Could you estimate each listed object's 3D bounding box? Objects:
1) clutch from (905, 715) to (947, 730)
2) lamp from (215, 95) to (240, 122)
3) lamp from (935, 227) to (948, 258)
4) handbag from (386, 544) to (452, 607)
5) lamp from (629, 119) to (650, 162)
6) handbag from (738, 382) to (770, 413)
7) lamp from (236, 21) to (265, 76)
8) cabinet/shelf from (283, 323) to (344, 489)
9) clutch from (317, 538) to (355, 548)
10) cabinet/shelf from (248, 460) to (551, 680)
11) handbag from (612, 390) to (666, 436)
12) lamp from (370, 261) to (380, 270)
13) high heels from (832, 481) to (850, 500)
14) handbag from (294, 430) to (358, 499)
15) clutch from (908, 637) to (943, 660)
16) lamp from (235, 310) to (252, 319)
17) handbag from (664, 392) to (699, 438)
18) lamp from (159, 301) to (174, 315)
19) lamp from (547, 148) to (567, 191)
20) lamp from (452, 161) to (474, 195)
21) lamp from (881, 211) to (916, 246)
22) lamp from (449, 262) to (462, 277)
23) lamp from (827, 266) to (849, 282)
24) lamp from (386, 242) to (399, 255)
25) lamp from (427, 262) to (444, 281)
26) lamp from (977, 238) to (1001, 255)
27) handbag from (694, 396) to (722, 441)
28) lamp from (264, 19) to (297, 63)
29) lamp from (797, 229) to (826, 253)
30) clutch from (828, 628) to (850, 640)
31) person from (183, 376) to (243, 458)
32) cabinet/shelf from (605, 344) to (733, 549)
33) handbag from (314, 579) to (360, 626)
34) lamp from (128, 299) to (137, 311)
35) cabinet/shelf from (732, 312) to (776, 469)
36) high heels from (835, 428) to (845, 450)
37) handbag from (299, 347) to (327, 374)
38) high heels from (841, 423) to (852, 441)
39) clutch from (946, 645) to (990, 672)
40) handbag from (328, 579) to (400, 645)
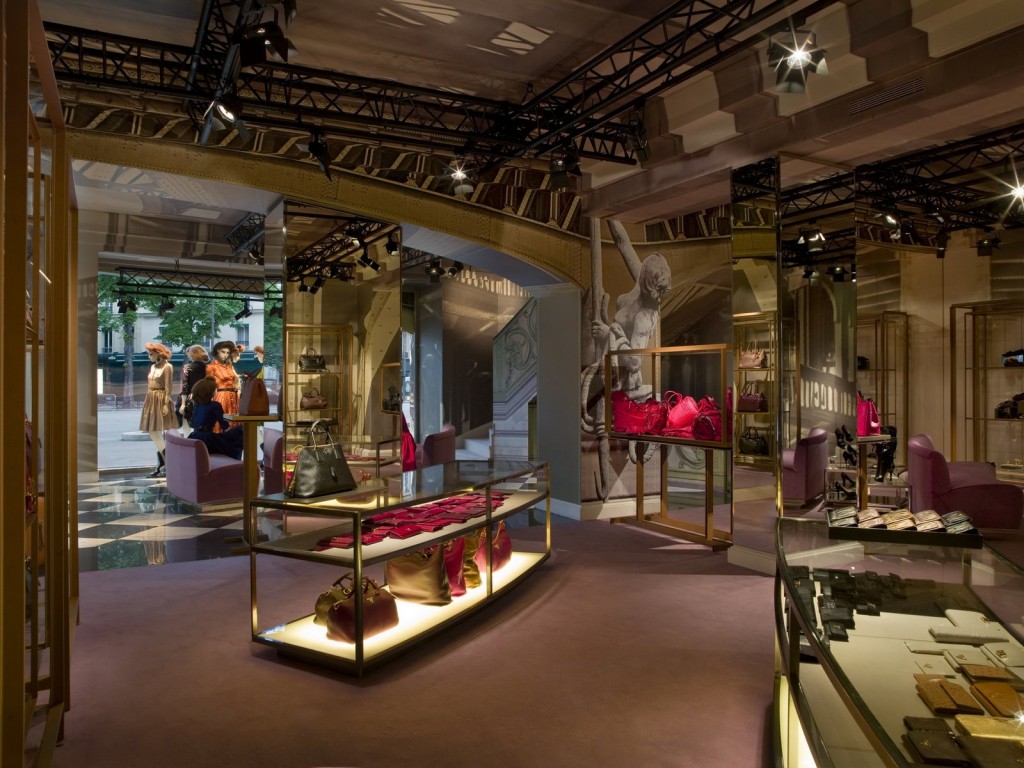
[{"bbox_3d":[1.267,1.034,2.265,0.125,0.014,0.059,0,6,5],"label":"clutch"},{"bbox_3d":[-2.247,-2.174,5.848,0.144,0.184,0.156,-11,-1,-10],"label":"lamp"},{"bbox_3d":[5.654,-1.861,9.744,0.183,0.409,0.095,3,6,34],"label":"lamp"},{"bbox_3d":[-0.660,1.223,4.932,0.470,0.469,0.246,1,24,9],"label":"handbag"},{"bbox_3d":[1.268,-2.422,7.399,0.096,0.387,0.240,-4,6,-22],"label":"lamp"},{"bbox_3d":[2.013,0.111,6.119,0.106,0.240,0.239,1,1,-32],"label":"handbag"},{"bbox_3d":[-1.738,-2.271,4.934,0.152,0.170,0.534,-3,6,-26],"label":"lamp"},{"bbox_3d":[-2.338,0.295,7.994,0.668,1.861,0.516,-3,6,6],"label":"cabinet/shelf"},{"bbox_3d":[-1.051,0.936,4.428,0.109,0.031,0.116,-2,-1,17],"label":"clutch"},{"bbox_3d":[-0.584,1.138,5.371,0.886,0.987,2.674,0,1,27],"label":"cabinet/shelf"},{"bbox_3d":[1.244,0.296,7.298,0.175,0.395,0.715,-4,7,-37],"label":"handbag"},{"bbox_3d":[-1.504,-1.290,8.079,0.076,0.075,0.134,-21,12,-25],"label":"lamp"},{"bbox_3d":[2.777,0.889,6.234,0.125,0.154,0.382,-4,-10,28],"label":"high heels"},{"bbox_3d":[-1.161,0.474,4.534,0.181,0.420,0.425,-3,1,39],"label":"handbag"},{"bbox_3d":[1.446,0.921,2.590,0.107,0.017,0.094,0,6,5],"label":"clutch"},{"bbox_3d":[-5.441,-1.402,14.924,0.264,0.073,0.268,-3,0,-28],"label":"lamp"},{"bbox_3d":[1.592,0.285,6.937,0.111,0.385,0.329,5,7,-44],"label":"handbag"},{"bbox_3d":[-6.697,-1.485,14.289,0.241,0.229,0.411,2,17,-6],"label":"lamp"},{"bbox_3d":[0.459,-2.115,7.322,0.149,0.347,0.333,0,5,4],"label":"lamp"},{"bbox_3d":[-0.521,-2.156,7.755,0.268,0.353,0.512,-1,5,-4],"label":"lamp"},{"bbox_3d":[5.103,-2.040,9.765,0.464,0.395,0.134,-3,6,-21],"label":"lamp"},{"bbox_3d":[-0.999,-2.022,13.024,0.149,0.207,0.209,-1,4,-1],"label":"lamp"},{"bbox_3d":[2.571,-0.865,5.834,0.217,0.126,0.122,1,9,-9],"label":"lamp"},{"bbox_3d":[-1.329,-1.491,8.140,0.100,0.101,0.131,0,13,-3],"label":"lamp"},{"bbox_3d":[-1.323,-1.944,12.918,0.303,0.267,0.900,-1,6,-6],"label":"lamp"},{"bbox_3d":[5.986,-1.724,9.303,0.157,0.206,0.263,2,8,22],"label":"lamp"},{"bbox_3d":[1.784,0.306,6.688,0.120,0.381,0.224,8,7,44],"label":"handbag"},{"bbox_3d":[-1.554,-2.237,4.863,0.150,0.168,0.383,-2,6,-18],"label":"lamp"},{"bbox_3d":[2.342,-1.116,5.798,0.184,0.197,0.137,3,2,-1],"label":"lamp"},{"bbox_3d":[1.176,0.897,2.669,0.038,0.018,0.039,-3,6,3],"label":"clutch"},{"bbox_3d":[-3.613,0.506,9.143,0.436,1.276,0.729,15,18,39],"label":"person"},{"bbox_3d":[1.641,0.741,7.921,0.785,2.511,1.975,1,-1,-34],"label":"cabinet/shelf"},{"bbox_3d":[-1.093,1.374,4.683,0.307,0.290,0.243,-2,-17,3],"label":"handbag"},{"bbox_3d":[-7.118,-1.472,13.915,0.180,0.199,0.065,5,-13,-4],"label":"lamp"},{"bbox_3d":[1.989,0.055,6.065,0.129,1.278,0.477,-3,6,-27],"label":"cabinet/shelf"},{"bbox_3d":[2.629,0.430,5.950,0.054,0.188,0.072,-7,4,16],"label":"high heels"},{"bbox_3d":[-2.097,-0.256,7.772,0.227,0.249,0.239,-3,-1,36],"label":"handbag"},{"bbox_3d":[2.683,0.389,5.945,0.053,0.150,0.056,-23,0,-10],"label":"high heels"},{"bbox_3d":[1.556,0.928,2.531,0.131,0.024,0.126,0,6,9],"label":"clutch"},{"bbox_3d":[-0.908,1.343,4.521,0.279,0.358,0.512,-2,-1,28],"label":"handbag"}]
